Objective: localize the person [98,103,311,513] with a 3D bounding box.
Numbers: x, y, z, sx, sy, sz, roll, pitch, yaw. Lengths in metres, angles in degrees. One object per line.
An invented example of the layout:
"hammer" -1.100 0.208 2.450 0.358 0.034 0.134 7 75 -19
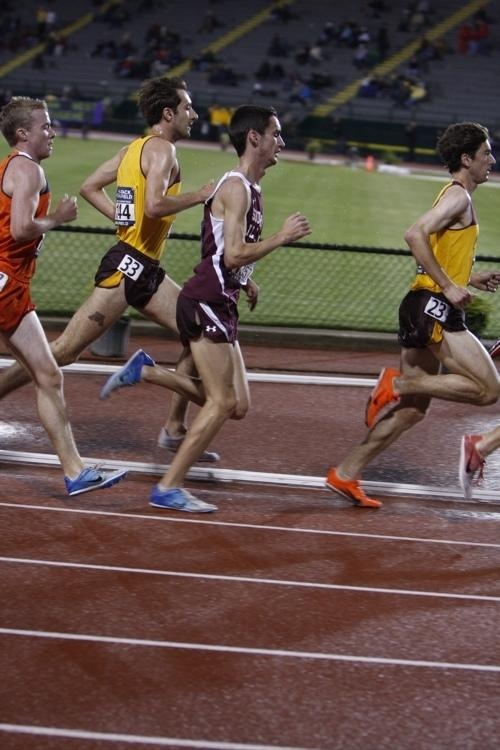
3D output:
"person" -0.190 -0.282 3.242 0.631 1.825 0.923 1 9 -24

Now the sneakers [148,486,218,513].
"sneakers" -0.318 0.560 3.248 0.345 0.106 0.114 5 0 -2

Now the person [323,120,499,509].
"person" 0.850 -0.282 3.462 0.755 1.873 0.684 6 8 11

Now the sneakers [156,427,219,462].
"sneakers" -0.327 0.397 4.047 0.462 0.162 0.141 4 2 -11
